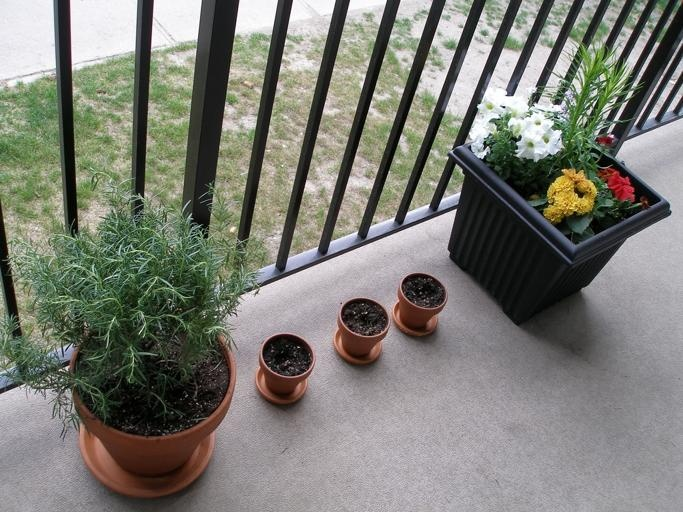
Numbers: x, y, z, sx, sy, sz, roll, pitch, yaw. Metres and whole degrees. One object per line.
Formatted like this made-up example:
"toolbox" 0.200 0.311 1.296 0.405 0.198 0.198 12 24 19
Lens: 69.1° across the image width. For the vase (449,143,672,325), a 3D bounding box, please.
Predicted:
"vase" 0.838 -0.120 2.270 0.612 0.579 0.736 -13 48 -26
